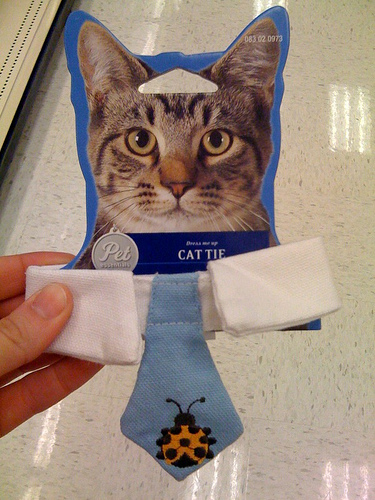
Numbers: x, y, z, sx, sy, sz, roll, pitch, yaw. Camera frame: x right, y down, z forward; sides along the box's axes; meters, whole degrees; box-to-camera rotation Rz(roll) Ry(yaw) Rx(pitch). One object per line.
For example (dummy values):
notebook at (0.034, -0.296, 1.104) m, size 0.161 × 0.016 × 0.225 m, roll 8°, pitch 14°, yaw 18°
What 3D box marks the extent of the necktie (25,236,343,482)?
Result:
necktie at (-0.002, 0.130, 0.666) m, size 0.230 × 0.276 × 0.525 m, roll -5°, pitch 90°, yaw -2°
